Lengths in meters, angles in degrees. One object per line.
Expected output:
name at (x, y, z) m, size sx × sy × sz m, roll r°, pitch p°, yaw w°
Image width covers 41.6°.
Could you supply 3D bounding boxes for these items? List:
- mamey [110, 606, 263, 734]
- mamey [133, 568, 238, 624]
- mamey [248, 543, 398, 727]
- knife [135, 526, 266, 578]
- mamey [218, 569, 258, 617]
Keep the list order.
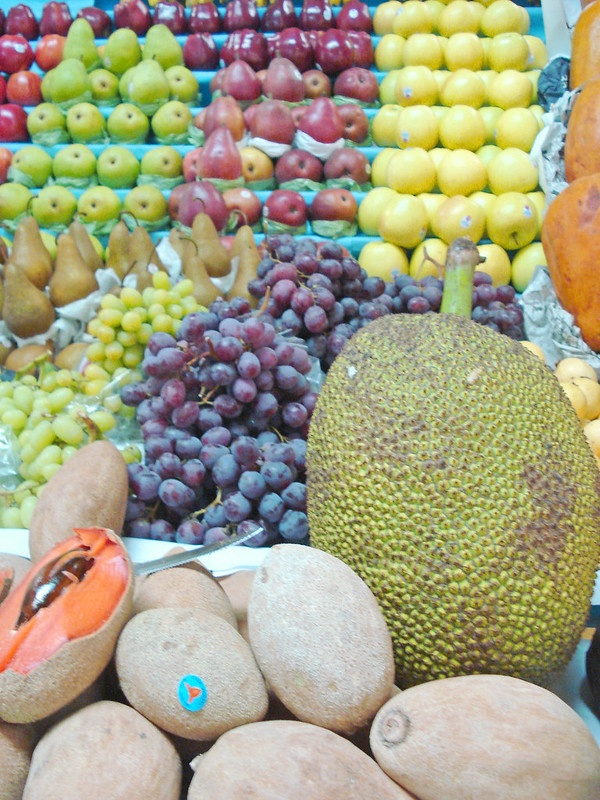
mamey at (-0.119, 0.250, 0.762) m, size 0.130 × 0.073 × 0.095 m, roll 34°, pitch 73°, yaw -6°
mamey at (-0.119, 0.196, 0.814) m, size 0.083 × 0.047 × 0.063 m, roll 19°, pitch 32°, yaw 27°
mamey at (0.009, 0.232, 0.778) m, size 0.100 × 0.115 × 0.156 m, roll -38°, pitch 63°, yaw 20°
knife at (-0.106, 0.177, 0.934) m, size 0.005 × 0.021 × 0.215 m, roll 23°, pitch 16°, yaw 31°
mamey at (-0.066, 0.221, 0.927) m, size 0.055 × 0.019 × 0.054 m, roll -10°, pitch 16°, yaw -3°
